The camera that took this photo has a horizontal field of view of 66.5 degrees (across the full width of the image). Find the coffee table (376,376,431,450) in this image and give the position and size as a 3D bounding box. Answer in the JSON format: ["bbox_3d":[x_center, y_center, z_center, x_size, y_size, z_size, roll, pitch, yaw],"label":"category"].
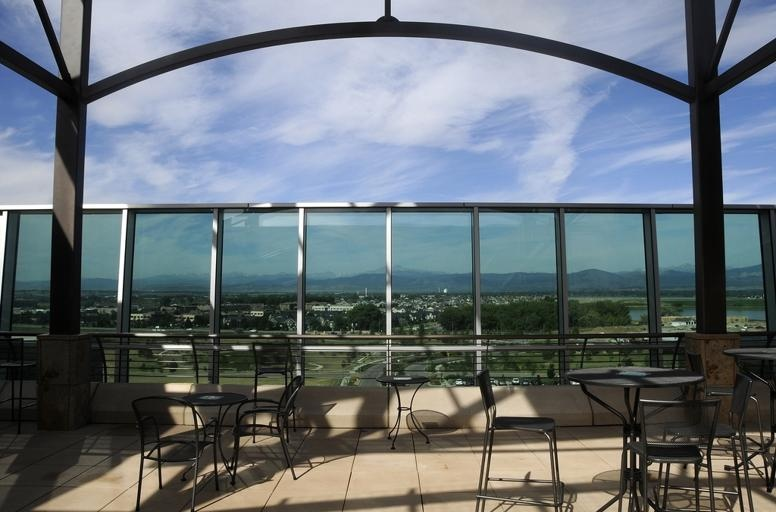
[{"bbox_3d":[0.237,2.196,8.756,1.021,0.946,0.913,0,-3,1],"label":"coffee table"}]
